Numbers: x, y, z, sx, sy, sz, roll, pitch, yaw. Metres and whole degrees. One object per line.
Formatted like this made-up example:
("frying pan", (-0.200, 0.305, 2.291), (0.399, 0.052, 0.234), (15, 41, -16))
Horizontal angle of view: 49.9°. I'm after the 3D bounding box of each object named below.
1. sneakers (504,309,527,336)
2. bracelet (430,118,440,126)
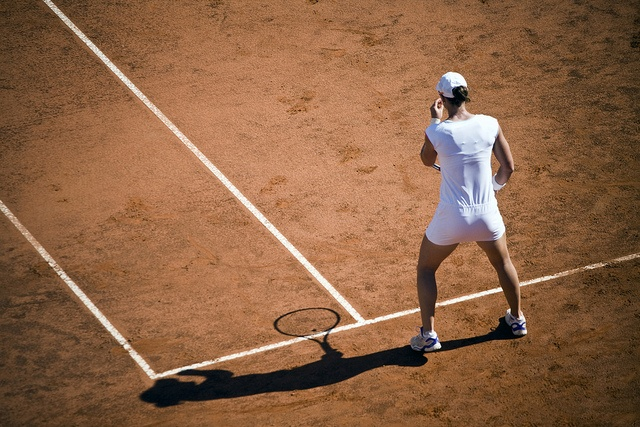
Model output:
("sneakers", (3.104, 1.687, 10.958), (0.208, 0.233, 0.507), (-5, 24, 1))
("bracelet", (1.689, -1.352, 10.181), (0.104, 0.109, 0.109), (-25, 27, 25))
